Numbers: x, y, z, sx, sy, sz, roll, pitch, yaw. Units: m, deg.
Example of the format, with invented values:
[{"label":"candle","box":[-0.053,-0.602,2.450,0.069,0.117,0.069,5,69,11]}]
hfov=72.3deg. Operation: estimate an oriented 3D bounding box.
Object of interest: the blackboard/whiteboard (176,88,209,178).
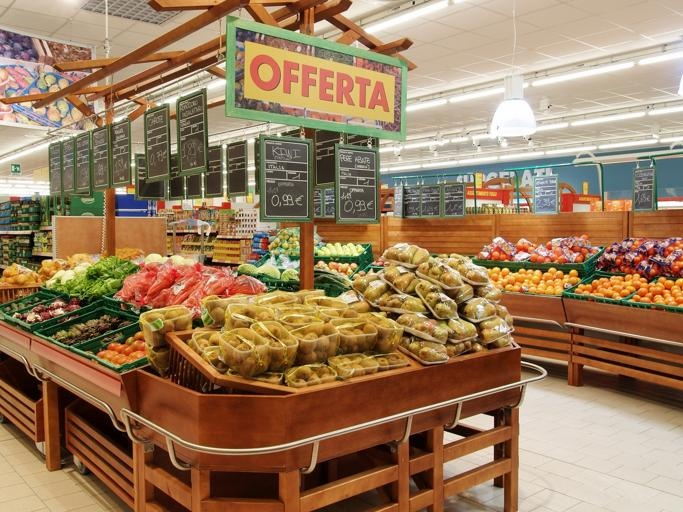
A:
[{"label":"blackboard/whiteboard","box":[-1.298,-1.070,4.054,0.225,0.701,0.527,-2,5,-20]}]

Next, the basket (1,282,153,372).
[{"label":"basket","box":[-1.637,0.505,3.563,0.905,0.412,1.312,-6,11,-45]}]

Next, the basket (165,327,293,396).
[{"label":"basket","box":[-0.622,0.516,2.253,0.340,0.128,0.481,-2,7,-37]}]
